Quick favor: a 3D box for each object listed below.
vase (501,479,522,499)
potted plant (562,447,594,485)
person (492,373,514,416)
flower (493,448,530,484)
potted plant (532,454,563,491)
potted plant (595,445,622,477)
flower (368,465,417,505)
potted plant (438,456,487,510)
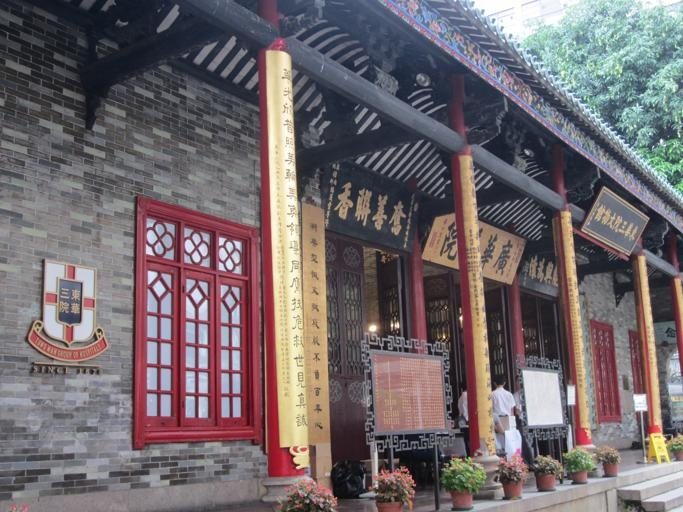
[{"bbox_3d":[1.805,2.437,6.662,0.193,0.188,0.204,-4,-12,15],"label":"vase"},{"bbox_3d":[3.009,2.640,8.075,0.394,0.431,0.412,-2,-6,-4],"label":"potted plant"},{"bbox_3d":[2.191,1.888,8.581,0.280,0.582,0.860,-10,-20,13],"label":"person"},{"bbox_3d":[1.827,2.262,6.774,0.338,0.351,0.342,4,-7,-30],"label":"flower"},{"bbox_3d":[2.419,2.515,7.362,0.286,0.354,0.310,6,-6,10],"label":"potted plant"},{"bbox_3d":[3.721,2.832,8.745,0.361,0.419,0.369,1,-13,-5],"label":"potted plant"},{"bbox_3d":[0.476,2.027,5.683,0.369,0.302,0.359,3,-13,-5],"label":"flower"},{"bbox_3d":[1.210,2.198,6.180,0.479,0.521,0.433,3,-19,-7],"label":"potted plant"}]
